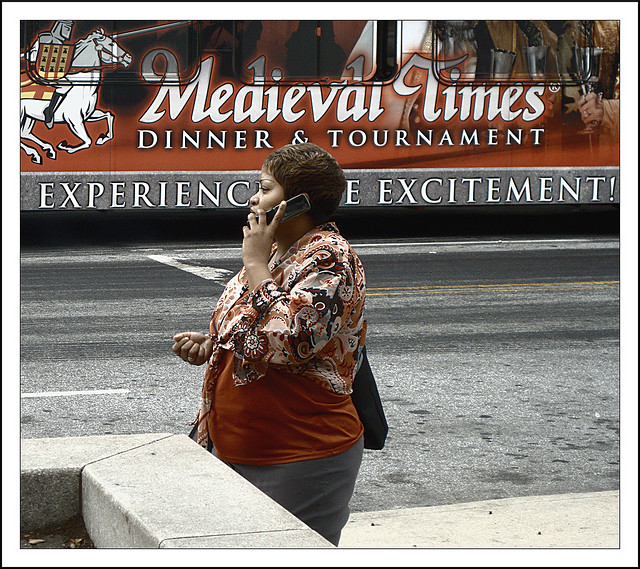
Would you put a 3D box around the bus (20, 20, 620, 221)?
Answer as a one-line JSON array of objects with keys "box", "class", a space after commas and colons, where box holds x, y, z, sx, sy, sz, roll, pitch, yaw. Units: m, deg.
[{"box": [0.021, -2.469, 20.734, 8.569, 2.805, 1.070, 0, 13, -5], "class": "bus"}]

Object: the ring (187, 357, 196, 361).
[{"box": [-0.962, 0.565, 10.692, 0.052, 0.031, 0.011, 3, 13, 8], "class": "ring"}]

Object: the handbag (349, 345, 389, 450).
[{"box": [0.375, 0.871, 10.784, 0.274, 0.836, 0.288, 2, 13, 4], "class": "handbag"}]
